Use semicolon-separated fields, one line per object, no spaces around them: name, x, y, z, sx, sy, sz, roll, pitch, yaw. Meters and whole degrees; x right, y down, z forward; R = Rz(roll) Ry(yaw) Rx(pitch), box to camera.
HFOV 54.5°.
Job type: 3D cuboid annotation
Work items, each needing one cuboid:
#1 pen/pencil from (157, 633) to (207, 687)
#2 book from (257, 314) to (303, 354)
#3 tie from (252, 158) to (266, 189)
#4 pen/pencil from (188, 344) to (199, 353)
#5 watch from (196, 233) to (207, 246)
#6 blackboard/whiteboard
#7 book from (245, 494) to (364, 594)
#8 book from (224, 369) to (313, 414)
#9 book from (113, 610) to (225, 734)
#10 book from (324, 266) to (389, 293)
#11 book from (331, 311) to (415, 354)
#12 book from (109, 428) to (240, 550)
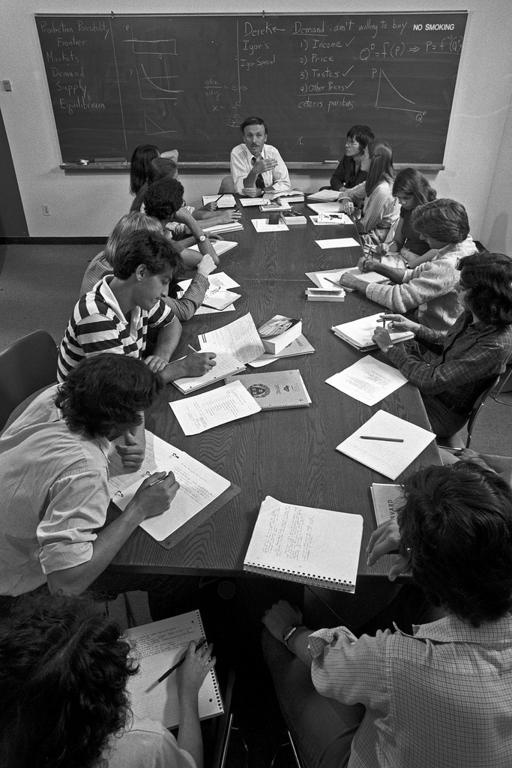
pen/pencil;-0.164;0.608;1.088;0.017;0.015;0.100;43;62;8
book;0.096;-0.216;1.999;0.126;0.055;0.175;11;44;36
tie;0.027;-1.796;4.259;0.057;0.204;0.144;-4;18;7
pen/pencil;-0.259;-0.151;2.014;0.027;0.011;0.050;-10;40;-17
watch;-0.323;-0.855;2.924;0.064;0.026;0.070;2;48;13
blackboard/whiteboard;0.014;-2.710;4.486;2.164;1.081;0.040;2;33;1
book;0.118;0.373;1.139;0.201;0.053;0.220;9;35;9
book;0.071;0.020;1.717;0.151;0.025;0.172;-4;37;-8
book;-0.179;0.643;1.115;0.239;0.061;0.257;-9;39;-14
book;0.529;-0.549;2.571;0.187;0.052;0.202;-13;30;-29
book;0.451;-0.216;2.088;0.211;0.046;0.213;-13;34;-18
book;-0.190;0.278;1.276;0.267;0.019;0.191;29;51;34
